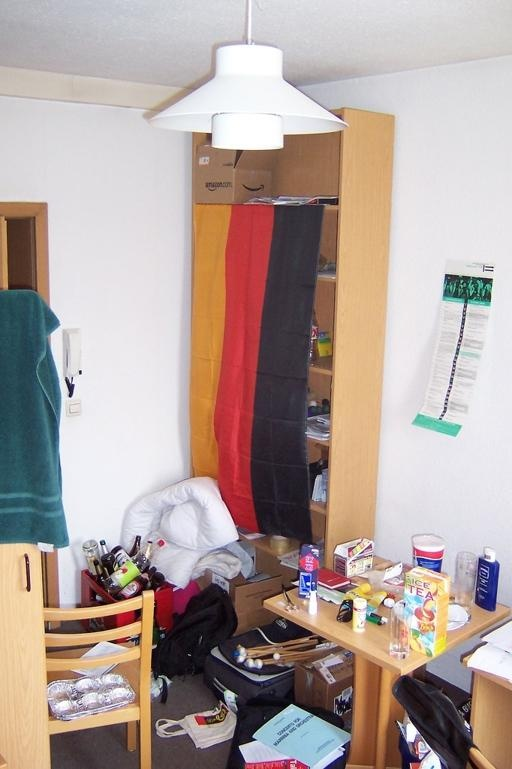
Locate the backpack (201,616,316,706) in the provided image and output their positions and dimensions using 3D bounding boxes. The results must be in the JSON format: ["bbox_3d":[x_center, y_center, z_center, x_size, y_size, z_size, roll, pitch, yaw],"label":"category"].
[{"bbox_3d":[-0.002,1.244,2.797,0.332,0.175,0.464,11,-1,32],"label":"backpack"}]

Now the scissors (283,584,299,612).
[{"bbox_3d":[0.118,0.783,2.325,0.049,0.021,0.203,-10,9,-9],"label":"scissors"}]

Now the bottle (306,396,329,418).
[{"bbox_3d":[0.287,0.106,3.019,0.104,0.035,0.074,-17,26,-35],"label":"bottle"}]

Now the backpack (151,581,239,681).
[{"bbox_3d":[-0.305,1.168,3.059,0.274,0.381,0.137,28,-16,-13],"label":"backpack"}]

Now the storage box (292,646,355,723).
[{"bbox_3d":[0.304,1.246,2.608,0.231,0.303,0.174,-4,8,-42],"label":"storage box"}]

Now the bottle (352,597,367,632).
[{"bbox_3d":[0.335,0.725,2.070,0.046,0.098,0.129,4,7,11],"label":"bottle"}]

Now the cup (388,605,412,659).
[{"bbox_3d":[0.429,0.726,1.903,0.058,0.127,0.137,4,7,15],"label":"cup"}]

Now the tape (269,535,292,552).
[{"bbox_3d":[0.123,0.763,3.090,0.082,0.060,0.083,0,-1,-2],"label":"tape"}]

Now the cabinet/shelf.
[{"bbox_3d":[0.152,-0.171,3.017,0.454,1.975,0.931,-4,10,-43],"label":"cabinet/shelf"}]
